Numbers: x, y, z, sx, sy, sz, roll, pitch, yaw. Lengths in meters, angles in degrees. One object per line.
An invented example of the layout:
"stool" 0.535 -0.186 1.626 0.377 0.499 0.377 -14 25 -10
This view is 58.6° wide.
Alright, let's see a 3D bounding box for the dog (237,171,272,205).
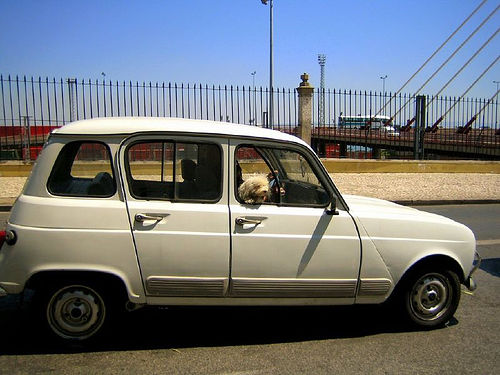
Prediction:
"dog" 0.044 0.001 4.541 0.308 0.299 0.249 6 3 -9
